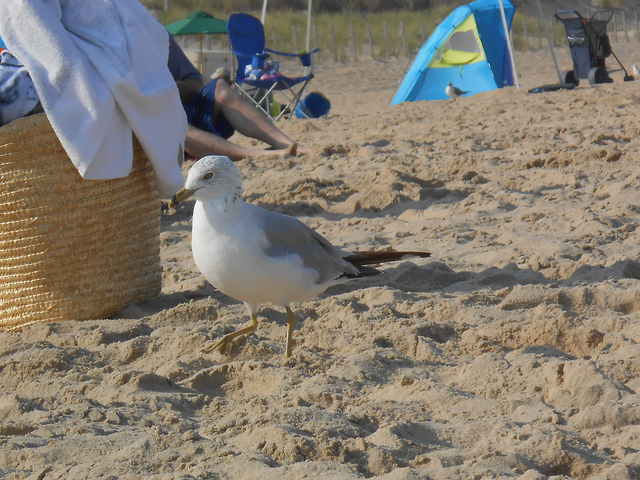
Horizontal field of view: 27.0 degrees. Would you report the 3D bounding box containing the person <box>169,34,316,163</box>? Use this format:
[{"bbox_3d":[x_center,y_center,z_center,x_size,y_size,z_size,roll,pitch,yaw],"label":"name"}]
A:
[{"bbox_3d":[-0.820,-1.320,11.333,1.700,1.180,0.582,6,29,33],"label":"person"}]

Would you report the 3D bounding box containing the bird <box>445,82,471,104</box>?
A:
[{"bbox_3d":[1.557,-1.725,15.415,0.172,0.313,0.522,5,10,31],"label":"bird"}]

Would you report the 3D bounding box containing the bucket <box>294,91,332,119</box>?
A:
[{"bbox_3d":[-0.082,-1.589,15.849,0.420,0.279,0.530,-7,17,-1],"label":"bucket"}]

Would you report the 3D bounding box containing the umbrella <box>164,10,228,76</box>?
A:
[{"bbox_3d":[-1.601,-2.713,18.821,0.829,0.843,0.749,7,10,-5],"label":"umbrella"}]

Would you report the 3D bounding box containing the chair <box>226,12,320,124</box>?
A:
[{"bbox_3d":[-0.552,-1.979,15.701,0.980,1.245,1.011,3,14,15],"label":"chair"}]

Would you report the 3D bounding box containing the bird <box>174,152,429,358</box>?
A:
[{"bbox_3d":[-0.126,0.104,8.869,1.851,1.301,0.844,-4,3,-41],"label":"bird"}]
